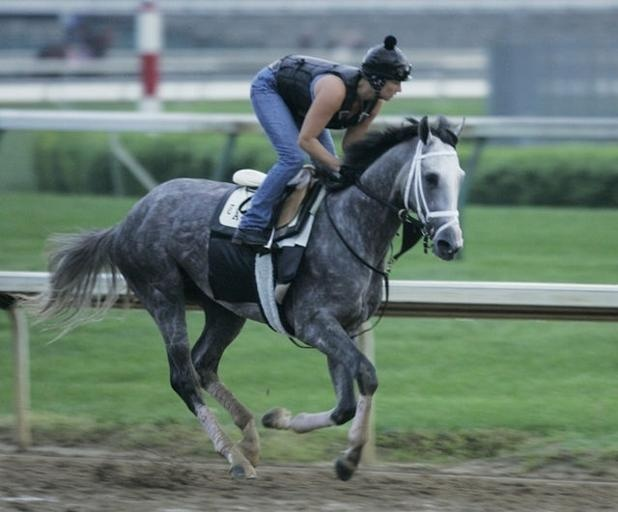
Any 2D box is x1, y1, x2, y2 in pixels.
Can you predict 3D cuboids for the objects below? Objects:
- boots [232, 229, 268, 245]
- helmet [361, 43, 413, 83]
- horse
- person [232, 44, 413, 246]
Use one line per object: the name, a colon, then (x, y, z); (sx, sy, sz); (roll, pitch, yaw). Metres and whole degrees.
boots: (-0.336, -0.112, 8.512); (0.141, 0.042, 0.099); (2, 7, 12)
helmet: (0.442, -1.121, 8.477); (0.312, 0.227, 0.197); (3, 23, -12)
horse: (-0.465, 0.279, 9.055); (3.530, 2.087, 0.788); (1, 1, 40)
person: (0.059, -0.658, 8.565); (0.978, 1.187, 0.367); (0, 7, -2)
